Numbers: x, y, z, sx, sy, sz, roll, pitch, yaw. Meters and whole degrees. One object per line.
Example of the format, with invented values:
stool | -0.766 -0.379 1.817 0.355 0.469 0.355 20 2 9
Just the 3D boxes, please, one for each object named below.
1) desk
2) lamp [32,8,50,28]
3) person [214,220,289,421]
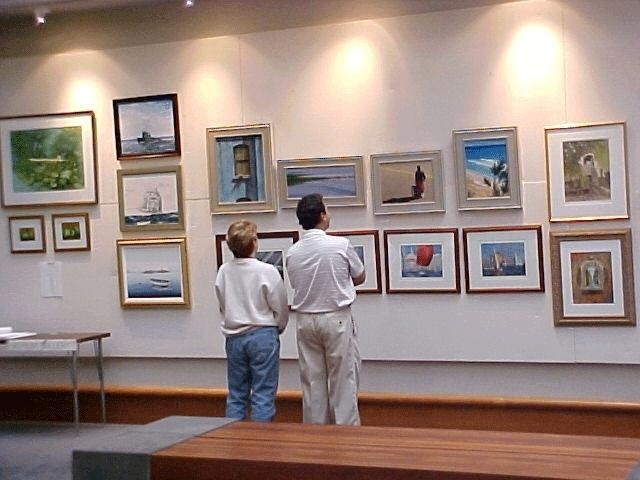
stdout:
desk | -2.766 1.353 6.004 0.972 0.994 1.021 -2 -7 6
lamp | -3.087 -2.469 6.383 0.132 0.232 0.232 7 21 -31
person | -0.585 0.697 4.855 0.612 1.731 0.341 -1 2 0
